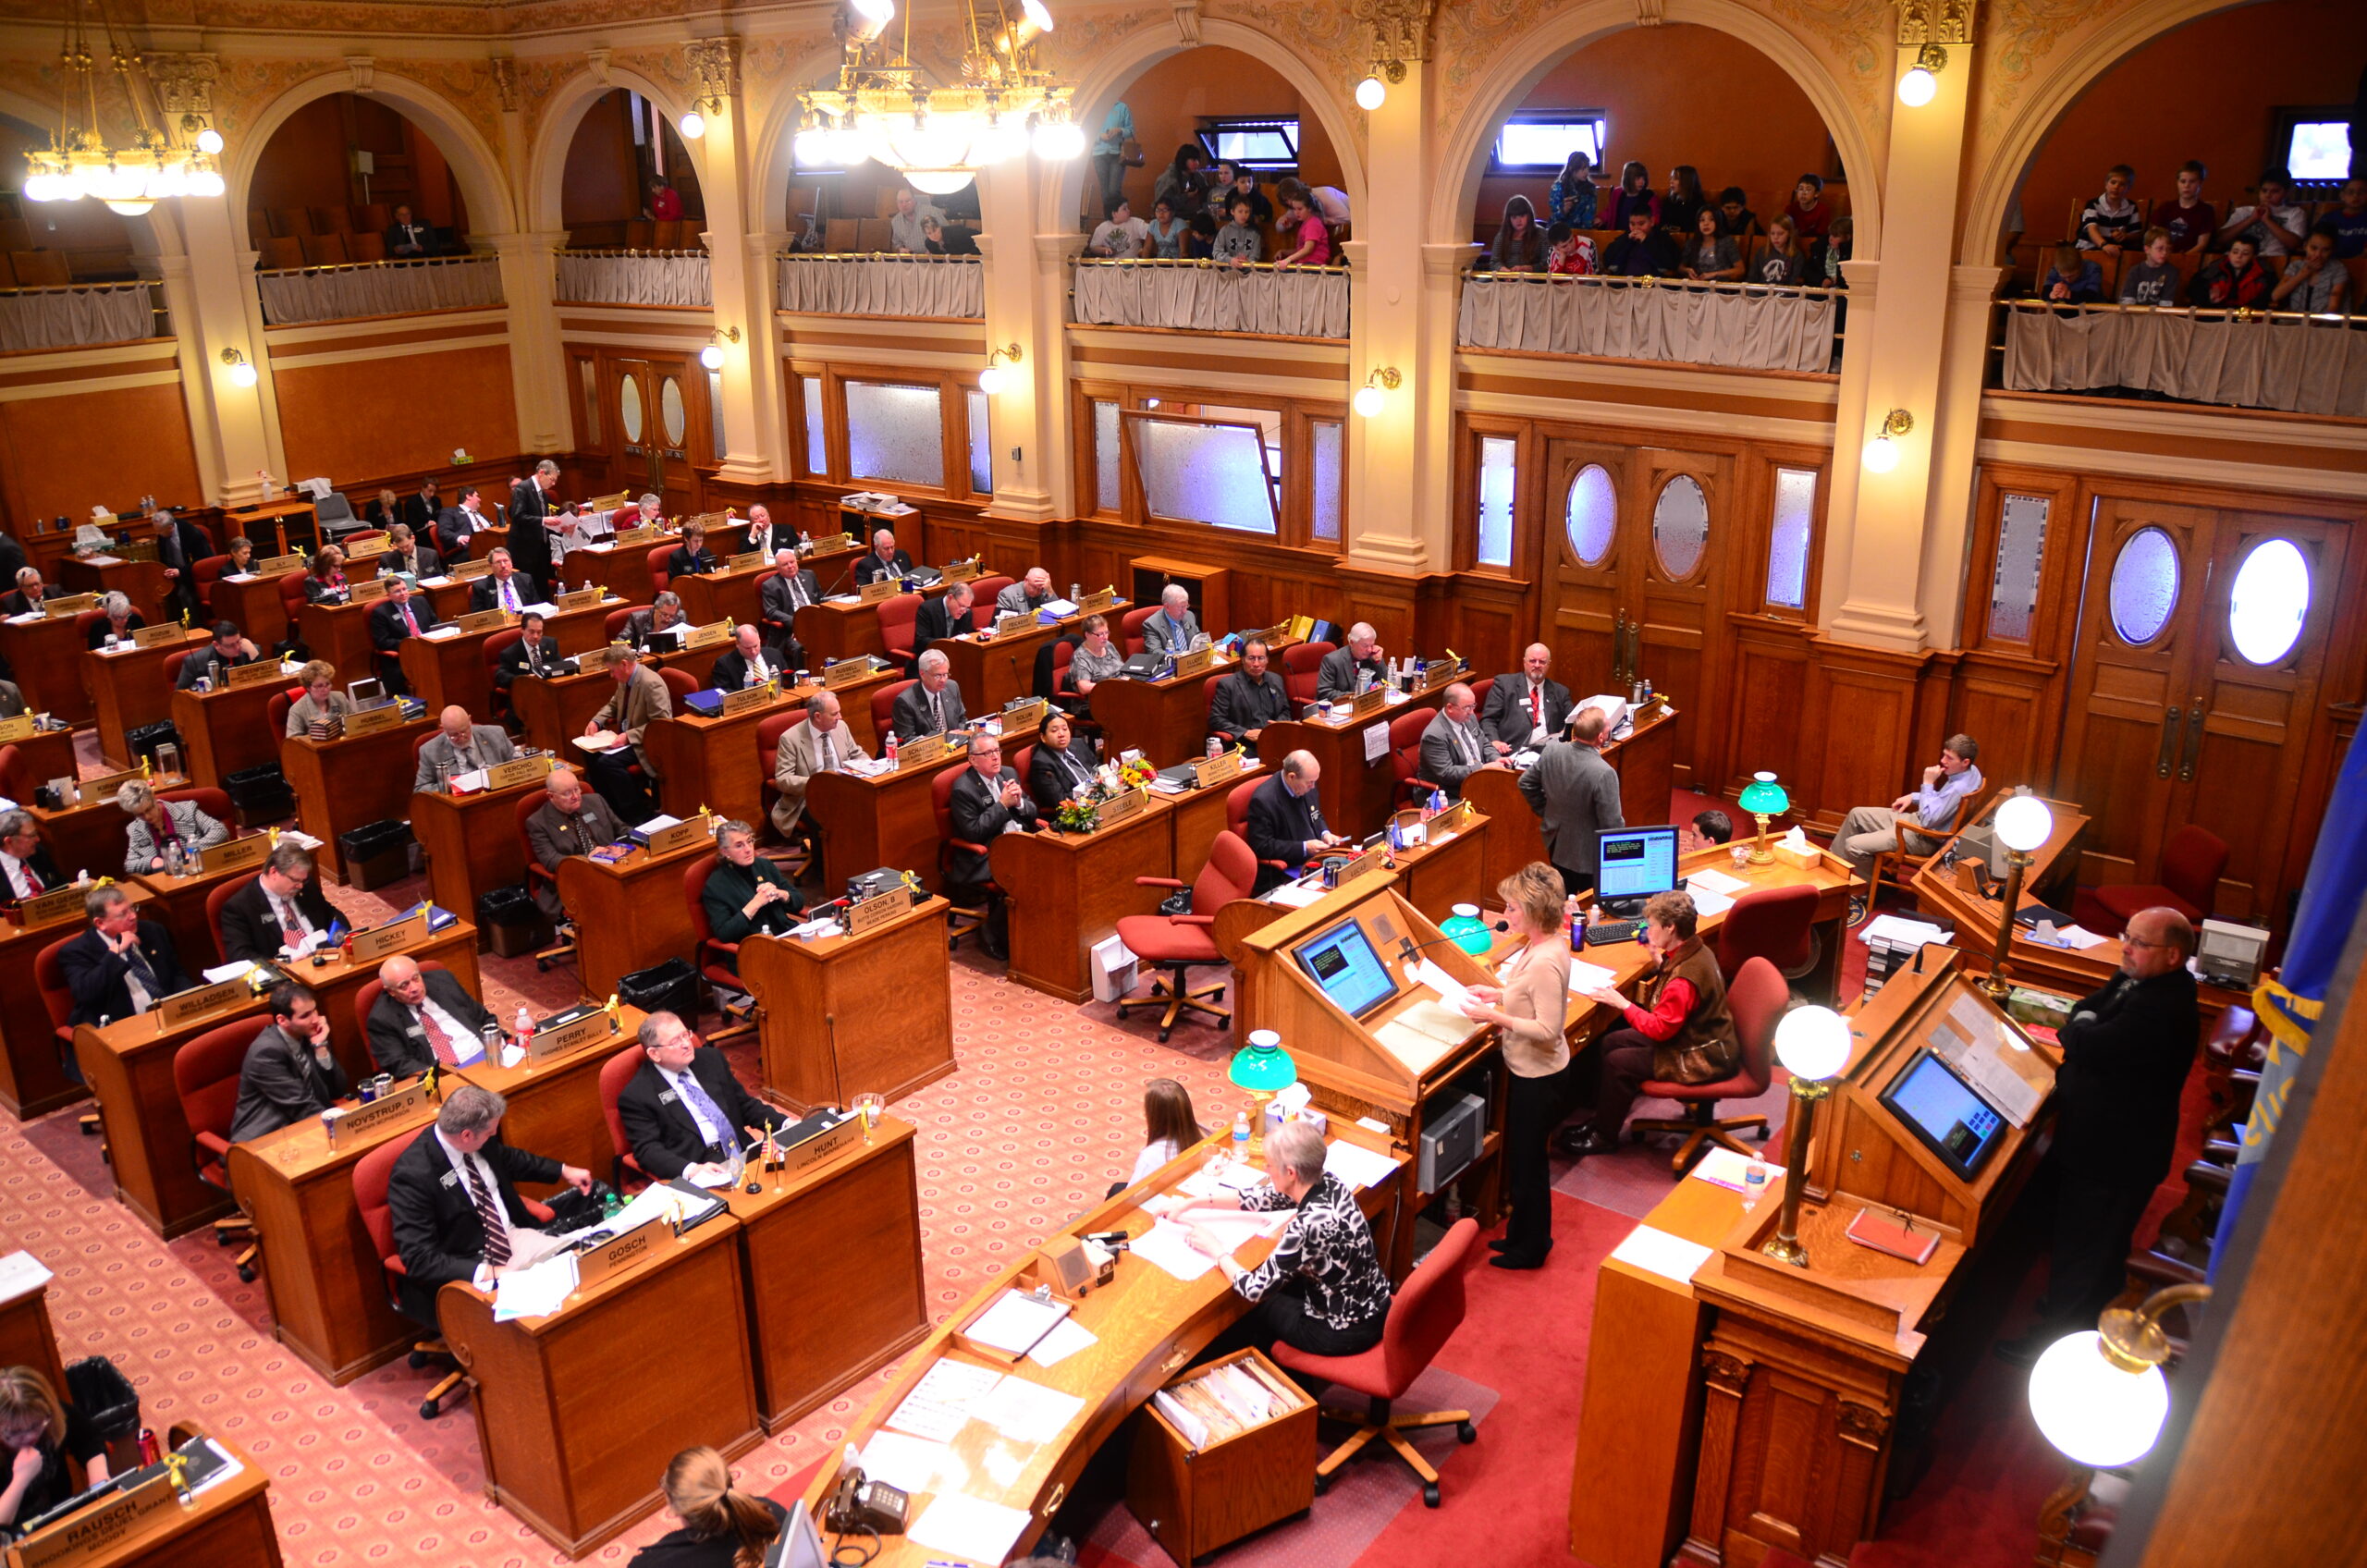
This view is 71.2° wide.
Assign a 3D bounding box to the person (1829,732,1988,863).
[{"bbox_3d":[6.809,0.376,15.596,1.021,1.831,0.634,16,23,17],"label":"person"}]

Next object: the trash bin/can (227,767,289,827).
[{"bbox_3d":[-9.525,0.151,16.898,0.263,0.478,0.475,13,16,35],"label":"trash bin/can"}]

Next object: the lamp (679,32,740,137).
[{"bbox_3d":[-6.886,-9.987,23.778,1.060,1.312,0.256,9,19,32],"label":"lamp"}]

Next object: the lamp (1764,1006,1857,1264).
[{"bbox_3d":[3.386,1.813,8.980,0.323,1.607,1.002,5,17,23],"label":"lamp"}]

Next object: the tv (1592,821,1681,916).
[{"bbox_3d":[3.657,0.792,13.508,0.795,0.797,0.581,-5,12,-14],"label":"tv"}]

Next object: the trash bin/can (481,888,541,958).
[{"bbox_3d":[-6.235,1.270,15.229,0.394,0.538,0.372,19,29,33],"label":"trash bin/can"}]

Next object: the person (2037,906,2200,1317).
[{"bbox_3d":[5.634,2.090,10.029,0.893,2.425,0.560,-16,21,-41],"label":"person"}]

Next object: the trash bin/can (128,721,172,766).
[{"bbox_3d":[-11.379,-0.411,18.119,0.241,0.408,0.416,12,19,40],"label":"trash bin/can"}]

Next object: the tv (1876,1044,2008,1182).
[{"bbox_3d":[4.452,1.894,9.675,0.548,0.530,0.841,10,20,35],"label":"tv"}]
